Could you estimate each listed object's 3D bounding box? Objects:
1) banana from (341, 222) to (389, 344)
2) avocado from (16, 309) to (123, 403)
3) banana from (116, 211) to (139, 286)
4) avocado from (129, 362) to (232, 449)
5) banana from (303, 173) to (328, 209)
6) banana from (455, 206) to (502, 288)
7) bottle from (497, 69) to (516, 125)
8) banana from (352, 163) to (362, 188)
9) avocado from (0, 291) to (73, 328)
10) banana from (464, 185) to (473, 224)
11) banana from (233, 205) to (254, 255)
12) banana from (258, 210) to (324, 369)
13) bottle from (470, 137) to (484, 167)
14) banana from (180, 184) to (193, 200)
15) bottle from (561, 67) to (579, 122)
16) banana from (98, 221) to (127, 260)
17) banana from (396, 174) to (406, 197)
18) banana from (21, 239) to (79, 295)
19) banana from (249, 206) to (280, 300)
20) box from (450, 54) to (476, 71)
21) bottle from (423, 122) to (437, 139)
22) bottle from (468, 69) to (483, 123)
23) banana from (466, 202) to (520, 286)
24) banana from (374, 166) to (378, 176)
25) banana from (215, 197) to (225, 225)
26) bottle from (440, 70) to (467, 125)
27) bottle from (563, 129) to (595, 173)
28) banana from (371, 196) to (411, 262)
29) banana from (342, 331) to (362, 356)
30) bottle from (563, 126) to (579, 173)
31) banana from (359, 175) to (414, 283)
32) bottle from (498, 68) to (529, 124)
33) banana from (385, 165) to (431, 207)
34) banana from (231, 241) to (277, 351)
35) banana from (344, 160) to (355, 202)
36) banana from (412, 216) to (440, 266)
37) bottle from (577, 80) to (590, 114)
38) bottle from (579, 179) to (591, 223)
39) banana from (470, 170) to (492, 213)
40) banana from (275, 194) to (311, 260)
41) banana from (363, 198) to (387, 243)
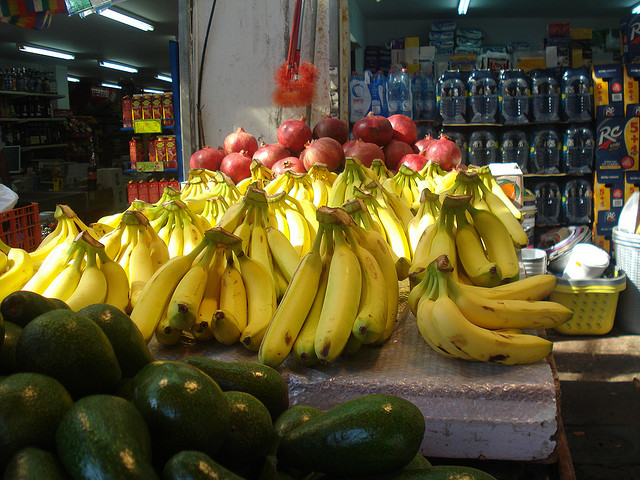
[{"bbox_3d":[0.099,0.143,1.366,0.132,0.428,0.090,27,-51,-31],"label":"banana"},{"bbox_3d":[-0.403,0.184,0.831,0.161,0.127,0.122,35,-13,-13],"label":"avocado"},{"bbox_3d":[-0.666,0.001,1.665,0.063,0.313,0.101,4,5,-3],"label":"banana"},{"bbox_3d":[-0.252,0.244,0.762,0.150,0.100,0.117,21,-4,-20],"label":"avocado"},{"bbox_3d":[-0.022,-0.268,2.290,0.062,0.108,0.279,29,24,-18],"label":"banana"},{"bbox_3d":[0.490,0.030,1.503,0.077,0.184,0.280,-13,35,2],"label":"banana"},{"bbox_3d":[2.282,-1.738,5.788,0.224,0.643,0.136,3,9,23],"label":"bottle"},{"bbox_3d":[0.166,-0.302,2.120,0.022,0.136,0.032,-22,-29,36],"label":"banana"},{"bbox_3d":[-0.536,0.131,0.899,0.047,0.055,0.099,23,-3,42],"label":"avocado"},{"bbox_3d":[0.506,-0.120,1.614,0.032,0.146,0.028,-7,1,20],"label":"banana"},{"bbox_3d":[-0.252,-0.034,1.618,0.037,0.171,0.057,23,-41,-20],"label":"banana"},{"bbox_3d":[-0.085,0.150,1.373,0.080,0.450,0.152,-2,-33,26],"label":"banana"},{"bbox_3d":[2.005,-1.133,6.063,0.213,0.343,0.153,-6,10,-31],"label":"bottle"},{"bbox_3d":[-0.675,-0.245,2.383,0.054,0.063,0.126,-1,10,-3],"label":"banana"},{"bbox_3d":[3.001,-1.739,5.685,0.209,0.617,0.172,5,10,32],"label":"bottle"},{"bbox_3d":[-0.744,0.004,1.709,0.036,0.146,0.050,21,-41,-2],"label":"banana"},{"bbox_3d":[0.399,-0.271,2.363,0.033,0.183,0.061,-9,-41,20],"label":"banana"},{"bbox_3d":[-0.878,0.092,1.554,0.055,0.047,0.186,9,40,15],"label":"banana"},{"bbox_3d":[-0.203,0.018,1.611,0.067,0.335,0.114,-8,-24,-9],"label":"banana"},{"bbox_3d":[2.461,-3.071,8.172,0.433,0.348,0.598,3,10,17],"label":"box"},{"bbox_3d":[1.456,-1.448,6.253,0.180,0.202,0.414,2,10,13],"label":"bottle"},{"bbox_3d":[1.916,-1.747,5.820,0.174,0.603,0.149,2,9,18],"label":"bottle"},{"bbox_3d":[0.563,0.020,1.553,0.061,0.223,0.141,-27,-20,23],"label":"banana"},{"bbox_3d":[0.290,-0.356,2.410,0.014,0.038,0.020,8,12,44],"label":"banana"},{"bbox_3d":[-0.407,-0.117,1.945,0.037,0.116,0.027,17,-30,-36],"label":"banana"},{"bbox_3d":[1.664,-1.763,5.892,0.332,0.647,0.210,1,8,11],"label":"bottle"},{"bbox_3d":[3.214,-1.105,5.893,0.378,0.523,0.137,-1,8,-7],"label":"bottle"},{"bbox_3d":[0.264,-0.040,1.787,0.055,0.250,0.081,-28,-16,32],"label":"banana"},{"bbox_3d":[0.085,0.280,1.256,0.044,0.037,0.065,-10,41,16],"label":"banana"},{"bbox_3d":[3.115,-1.120,5.870,0.194,0.561,0.116,3,9,23],"label":"bottle"},{"bbox_3d":[0.199,0.007,1.654,0.093,0.282,0.073,-36,3,-3],"label":"banana"},{"bbox_3d":[2.381,-1.754,5.823,0.395,0.649,0.232,1,8,6],"label":"bottle"},{"bbox_3d":[0.441,-0.276,2.362,0.145,0.148,0.262,5,12,-7],"label":"banana"},{"bbox_3d":[-0.196,0.132,1.423,0.084,0.384,0.160,-24,-45,19],"label":"banana"},{"bbox_3d":[0.132,-0.254,2.084,0.039,0.179,0.057,5,-9,-18],"label":"banana"},{"bbox_3d":[0.365,0.006,1.631,0.037,0.169,0.059,27,-29,2],"label":"banana"},{"bbox_3d":[3.144,-1.705,5.663,0.160,0.383,0.098,2,9,17],"label":"bottle"},{"bbox_3d":[3.404,-0.498,6.060,0.179,0.521,0.085,-2,8,-12],"label":"bottle"},{"bbox_3d":[0.608,-0.185,1.798,0.043,0.201,0.064,-24,-11,36],"label":"banana"},{"bbox_3d":[-0.128,-0.060,1.858,0.080,0.131,0.353,24,-11,13],"label":"banana"},{"bbox_3d":[0.199,-0.067,1.709,0.058,0.165,0.038,-39,5,-28],"label":"banana"}]
